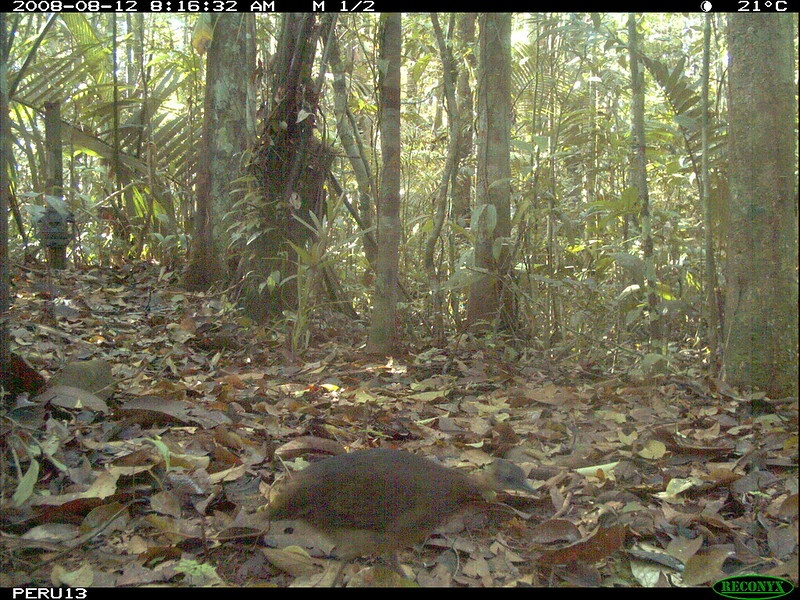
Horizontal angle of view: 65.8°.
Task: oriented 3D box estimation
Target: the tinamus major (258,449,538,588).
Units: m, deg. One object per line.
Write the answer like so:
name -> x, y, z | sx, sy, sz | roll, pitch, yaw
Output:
tinamus major -> -0.019, 0.485, 1.594 | 0.653, 0.352, 0.238 | -9, 5, 1
